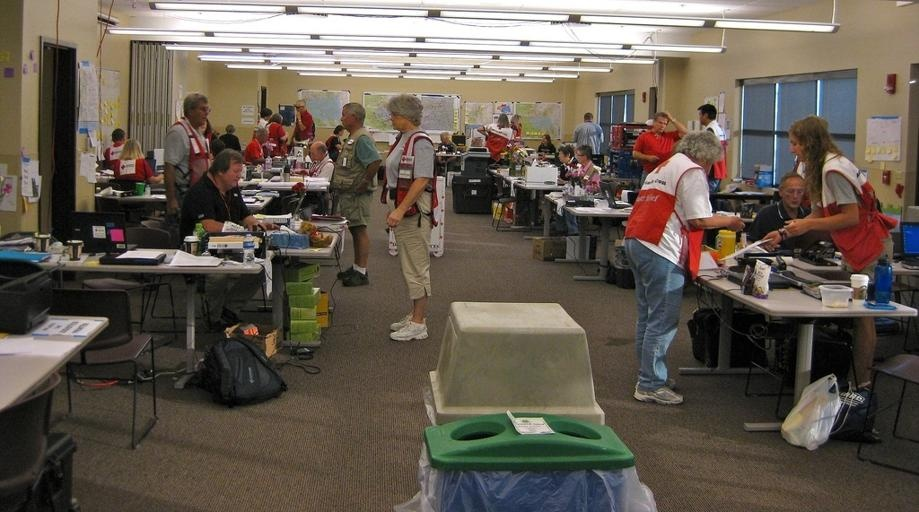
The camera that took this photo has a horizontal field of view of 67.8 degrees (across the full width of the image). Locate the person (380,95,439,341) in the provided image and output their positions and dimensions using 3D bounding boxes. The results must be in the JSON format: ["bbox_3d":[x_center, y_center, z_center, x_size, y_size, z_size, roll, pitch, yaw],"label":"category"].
[{"bbox_3d":[-0.549,-0.410,7.442,0.565,2.677,0.618,-1,10,-18],"label":"person"}]

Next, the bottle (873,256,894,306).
[{"bbox_3d":[3.701,0.220,5.968,0.133,0.374,0.329,8,11,30],"label":"bottle"}]

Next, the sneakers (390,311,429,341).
[{"bbox_3d":[-0.571,0.793,7.612,0.318,0.180,0.371,1,3,-5],"label":"sneakers"}]

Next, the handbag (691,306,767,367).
[{"bbox_3d":[2.801,0.826,7.010,0.864,0.530,0.596,-2,5,-10],"label":"handbag"}]

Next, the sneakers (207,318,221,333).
[{"bbox_3d":[-2.724,0.768,7.632,0.157,0.127,0.149,3,8,11],"label":"sneakers"}]

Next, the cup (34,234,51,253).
[{"bbox_3d":[-4.022,-0.126,6.634,0.156,0.161,0.180,0,3,-23],"label":"cup"}]

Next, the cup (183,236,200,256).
[{"bbox_3d":[-2.571,-0.103,6.568,0.200,0.173,0.134,0,6,-9],"label":"cup"}]

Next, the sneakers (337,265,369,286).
[{"bbox_3d":[-1.443,0.293,9.403,0.297,0.120,0.354,4,5,-20],"label":"sneakers"}]

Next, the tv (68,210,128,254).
[{"bbox_3d":[-3.472,-0.224,6.553,0.532,0.331,0.145,3,15,6],"label":"tv"}]

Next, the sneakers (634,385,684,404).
[{"bbox_3d":[1.866,1.309,6.453,0.459,0.184,0.171,1,5,9],"label":"sneakers"}]

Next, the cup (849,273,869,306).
[{"bbox_3d":[3.452,0.276,5.907,0.124,0.229,0.134,2,9,0],"label":"cup"}]

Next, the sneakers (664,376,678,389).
[{"bbox_3d":[2.051,1.232,6.638,0.102,0.116,0.292,2,12,15],"label":"sneakers"}]

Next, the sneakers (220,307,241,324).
[{"bbox_3d":[-2.573,0.660,7.685,0.156,0.093,0.204,13,8,4],"label":"sneakers"}]

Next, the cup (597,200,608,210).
[{"bbox_3d":[2.123,-0.777,10.225,0.133,0.127,0.162,1,16,-9],"label":"cup"}]
